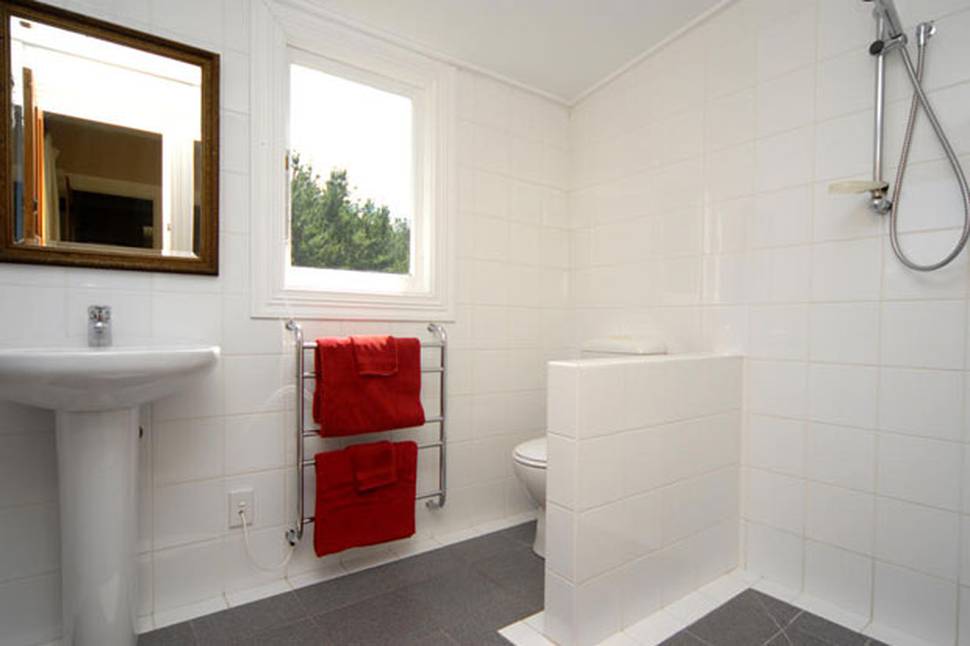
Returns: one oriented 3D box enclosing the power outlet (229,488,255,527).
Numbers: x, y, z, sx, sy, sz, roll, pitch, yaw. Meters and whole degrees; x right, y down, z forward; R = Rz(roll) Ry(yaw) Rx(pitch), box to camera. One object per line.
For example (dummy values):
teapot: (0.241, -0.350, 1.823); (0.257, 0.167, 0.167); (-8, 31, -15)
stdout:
power outlet: (-1.114, 0.842, 2.929); (0.114, 0.173, 0.014); (-5, 6, -32)

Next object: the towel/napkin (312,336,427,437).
towel/napkin: (-0.568, 0.293, 3.033); (0.470, 0.438, 0.181); (0, -1, -32)

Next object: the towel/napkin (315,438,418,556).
towel/napkin: (-0.574, 0.809, 3.027); (0.539, 0.529, 0.154); (-2, 8, -31)

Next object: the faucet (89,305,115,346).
faucet: (-1.543, 0.011, 2.562); (0.073, 0.164, 0.135); (-6, 7, -42)
